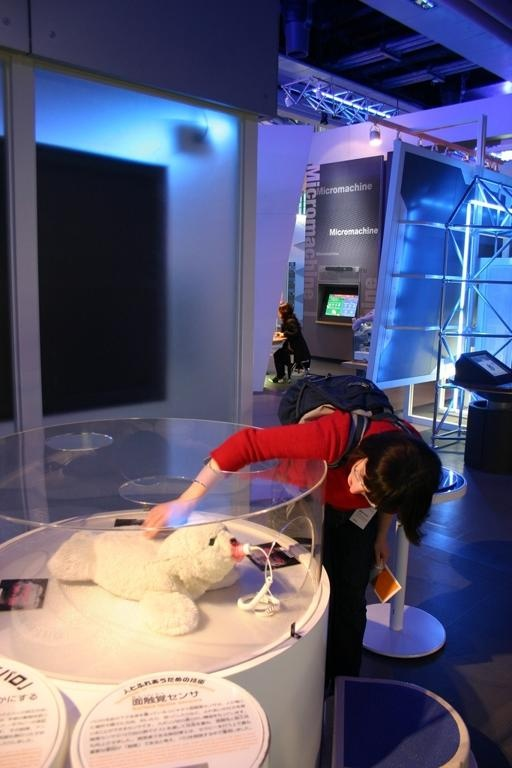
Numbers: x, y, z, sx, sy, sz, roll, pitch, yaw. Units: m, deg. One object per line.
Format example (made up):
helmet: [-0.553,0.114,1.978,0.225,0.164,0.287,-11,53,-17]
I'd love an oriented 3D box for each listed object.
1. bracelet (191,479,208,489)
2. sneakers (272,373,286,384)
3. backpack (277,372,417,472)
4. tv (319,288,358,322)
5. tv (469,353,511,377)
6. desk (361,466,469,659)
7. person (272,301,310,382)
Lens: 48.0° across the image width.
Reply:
bracelet: [-0.132,0.245,1.426,0.022,0.021,0.022,-2,6,-26]
sneakers: [0.330,-0.069,8.493,0.089,0.105,0.245,-4,5,-42]
backpack: [0.267,0.113,1.683,0.320,0.331,0.243,-14,-12,43]
tv: [1.347,-1.299,9.263,0.258,0.637,0.737,2,7,-42]
tv: [2.081,-0.188,5.154,0.322,0.169,0.444,11,13,43]
desk: [0.670,0.776,2.562,0.416,0.667,0.411,7,-18,10]
person: [0.507,-0.601,8.372,0.531,1.146,0.794,2,9,2]
